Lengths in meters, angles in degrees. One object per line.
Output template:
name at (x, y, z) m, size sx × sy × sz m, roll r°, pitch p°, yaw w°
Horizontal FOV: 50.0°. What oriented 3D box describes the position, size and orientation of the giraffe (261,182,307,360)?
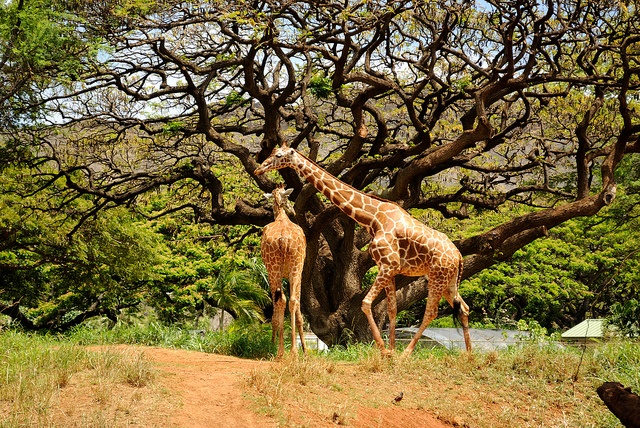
giraffe at (-1.061, 1.624, 20.566) m, size 1.793 × 5.195 × 1.130 m, roll 1°, pitch -9°, yaw 45°
